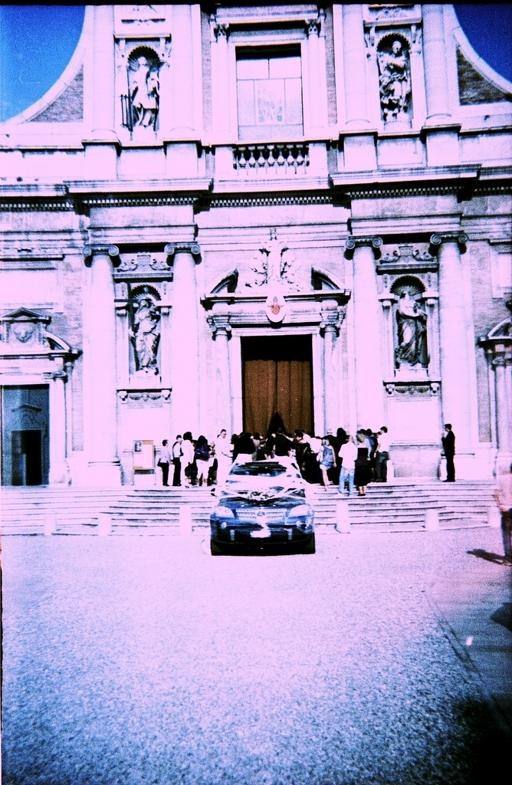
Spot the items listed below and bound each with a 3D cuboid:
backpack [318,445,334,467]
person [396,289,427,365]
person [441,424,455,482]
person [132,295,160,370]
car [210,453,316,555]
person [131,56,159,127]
[{"bbox_3d":[1.609,1.476,20.819,0.290,0.687,0.413,-3,7,-29],"label":"backpack"},{"bbox_3d":[4.175,-1.835,24.650,0.859,2.231,0.432,-1,0,10],"label":"person"},{"bbox_3d":[4.811,1.499,22.794,0.286,1.457,1.458,-1,0,12],"label":"person"},{"bbox_3d":[-3.020,-1.634,24.653,0.791,2.242,0.394,-1,0,-10],"label":"person"},{"bbox_3d":[0.091,1.925,14.605,1.605,1.457,1.518,-1,0,-2],"label":"car"},{"bbox_3d":[-3.131,-8.555,25.455,0.794,2.125,0.404,-1,0,-7],"label":"person"}]
